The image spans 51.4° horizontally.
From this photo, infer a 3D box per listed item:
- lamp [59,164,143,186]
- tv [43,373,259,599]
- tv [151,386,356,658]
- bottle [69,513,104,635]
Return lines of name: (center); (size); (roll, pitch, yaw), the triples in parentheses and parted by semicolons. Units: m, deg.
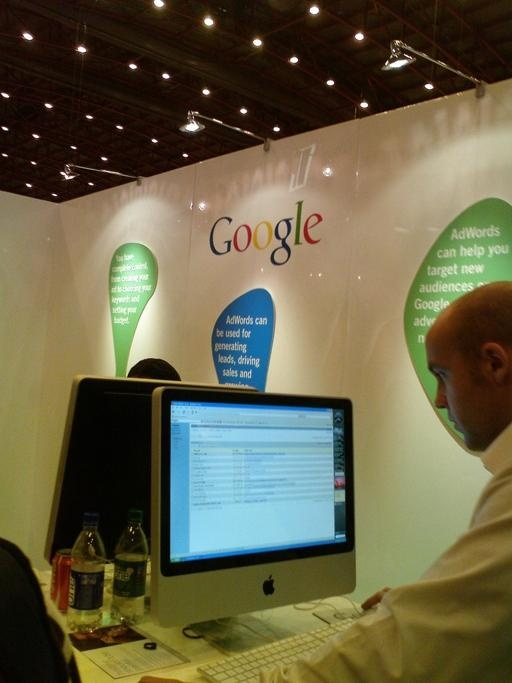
lamp: (-1.159, -1.215, 4.024); (0.546, 0.064, 0.175); (-3, 22, -27)
tv: (-0.231, 0.333, 1.181); (0.178, 0.521, 0.524); (-3, -7, 38)
tv: (-0.016, 0.385, 1.116); (0.530, 0.462, 0.185); (5, -14, -36)
bottle: (-0.361, 0.506, 1.135); (0.072, 0.204, 0.091); (8, -10, -17)
